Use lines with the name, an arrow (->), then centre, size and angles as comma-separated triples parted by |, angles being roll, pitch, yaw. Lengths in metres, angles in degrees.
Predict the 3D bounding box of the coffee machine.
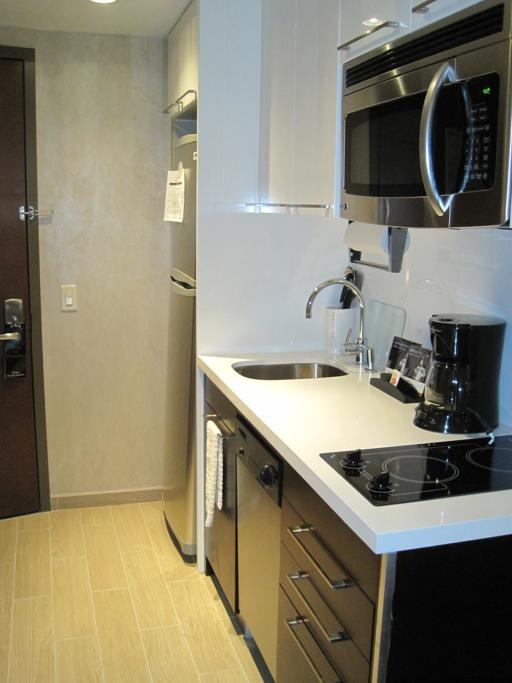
coffee machine -> 0.493, 0.085, 1.350 | 0.184, 0.358, 0.218 | 2, 7, -3
